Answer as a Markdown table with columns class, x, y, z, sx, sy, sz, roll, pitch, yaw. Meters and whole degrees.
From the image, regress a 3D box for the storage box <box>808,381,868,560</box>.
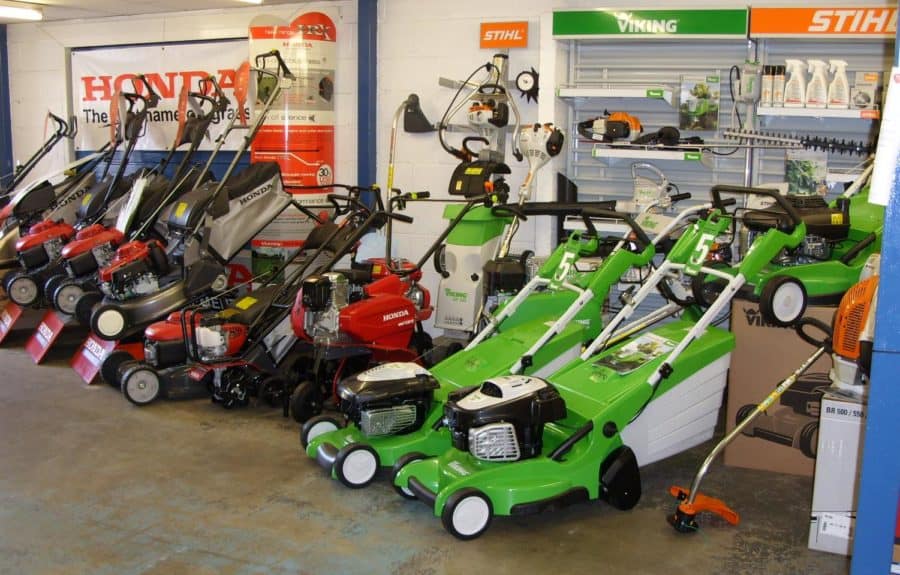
| class | x | y | z | sx | sy | sz | roll | pitch | yaw |
| --- | --- | --- | --- | --- | --- | --- | --- | --- | --- |
| storage box | 2.360 | 1.133 | 4.355 | 0.249 | 0.964 | 0.261 | 7 | 15 | 28 |
